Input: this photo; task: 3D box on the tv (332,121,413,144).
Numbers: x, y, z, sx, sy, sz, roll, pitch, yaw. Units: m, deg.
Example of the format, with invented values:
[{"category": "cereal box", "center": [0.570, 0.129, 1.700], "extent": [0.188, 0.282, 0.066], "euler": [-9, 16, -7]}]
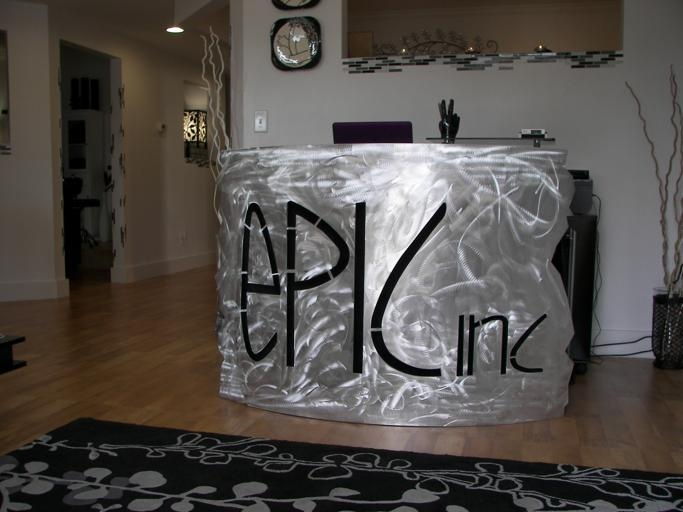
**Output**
[{"category": "tv", "center": [0.161, -0.654, 2.813], "extent": [0.401, 0.106, 0.106], "euler": [3, 8, 14]}]

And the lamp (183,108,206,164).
[{"category": "lamp", "center": [-1.996, -1.658, 7.362], "extent": [0.131, 0.735, 0.589], "euler": [1, 7, 10]}]

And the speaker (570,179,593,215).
[{"category": "speaker", "center": [1.492, -0.371, 3.317], "extent": [0.104, 0.214, 0.248], "euler": [4, 8, 31]}]
